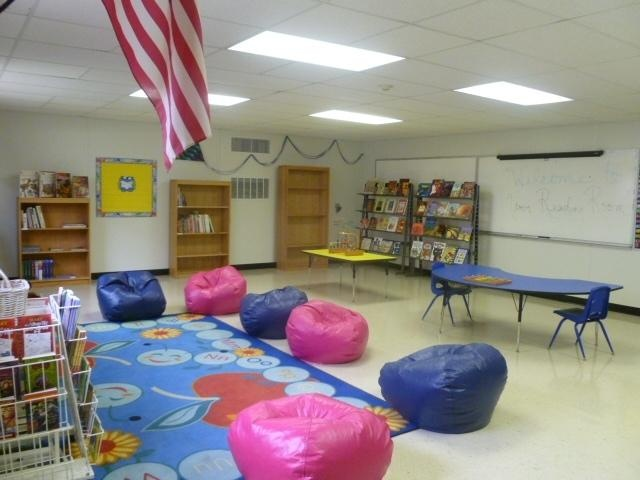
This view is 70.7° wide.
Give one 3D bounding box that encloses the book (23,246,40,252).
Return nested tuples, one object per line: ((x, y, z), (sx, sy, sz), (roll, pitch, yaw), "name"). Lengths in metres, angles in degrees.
((-5.148, 0.183, 8.063), (0.246, 0.092, 0.120), (-4, 9, -34), "book")

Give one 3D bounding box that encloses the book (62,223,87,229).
((-4.593, -0.238, 8.480), (0.400, 0.099, 0.340), (-2, 9, -26), "book")

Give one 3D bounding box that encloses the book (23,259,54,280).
((-5.107, 0.549, 8.245), (0.482, 0.450, 0.342), (1, 5, -21), "book")

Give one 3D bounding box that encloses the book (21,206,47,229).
((-5.132, -0.379, 8.055), (0.338, 0.392, 0.152), (-4, 10, -34), "book")

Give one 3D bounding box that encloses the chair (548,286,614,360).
((3.265, 0.981, 5.636), (0.590, 0.833, 0.645), (-5, 4, -33), "chair")

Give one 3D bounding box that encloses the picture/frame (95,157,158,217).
((-3.927, -1.064, 9.046), (1.258, 1.274, 0.094), (-2, 2, -33), "picture/frame")

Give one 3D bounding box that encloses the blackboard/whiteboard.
((4.031, -0.826, 8.345), (0.141, 1.573, 3.209), (-5, 10, -38), "blackboard/whiteboard")

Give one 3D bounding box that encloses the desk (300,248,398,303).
((0.519, 0.651, 8.571), (1.214, 0.722, 1.763), (0, 5, -29), "desk")

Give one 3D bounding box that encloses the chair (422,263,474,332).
((1.988, 0.767, 6.788), (0.720, 0.876, 0.735), (-11, -2, -25), "chair")

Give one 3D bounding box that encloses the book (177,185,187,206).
((-2.893, -0.887, 9.533), (0.174, 0.388, 0.361), (-1, 8, -16), "book")

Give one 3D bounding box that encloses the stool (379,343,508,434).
((1.063, 1.297, 3.938), (1.048, 0.649, 0.466), (4, 8, 15), "stool")
